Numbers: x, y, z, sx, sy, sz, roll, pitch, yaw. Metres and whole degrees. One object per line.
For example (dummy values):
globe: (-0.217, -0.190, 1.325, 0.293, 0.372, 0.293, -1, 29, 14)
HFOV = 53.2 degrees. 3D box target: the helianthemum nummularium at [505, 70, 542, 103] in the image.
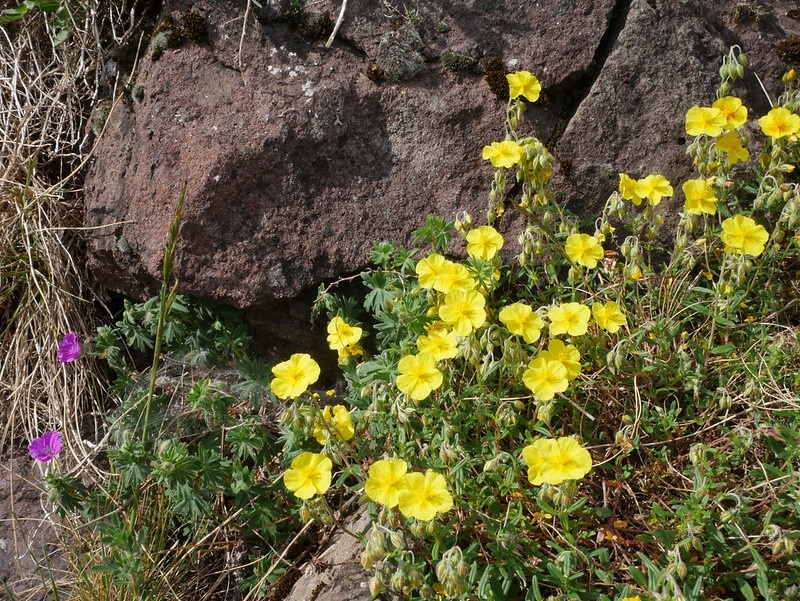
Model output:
helianthemum nummularium: (0.652, -1.113, 4.130, 0.160, 0.066, 0.208, 10, 78, -21)

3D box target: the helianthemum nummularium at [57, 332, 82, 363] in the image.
helianthemum nummularium: (-1.801, 0.274, 4.370, 0.142, 0.066, 0.207, -3, 77, -2)

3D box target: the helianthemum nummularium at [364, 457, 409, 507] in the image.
helianthemum nummularium: (-0.045, 0.768, 3.377, 0.179, 0.085, 0.231, 4, 58, 27)

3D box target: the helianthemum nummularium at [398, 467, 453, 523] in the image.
helianthemum nummularium: (0.104, 0.785, 3.320, 0.184, 0.225, 0.126, -2, 97, 1)

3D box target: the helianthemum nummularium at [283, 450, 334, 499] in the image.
helianthemum nummularium: (-0.400, 0.770, 3.511, 0.162, 0.080, 0.233, -1, 80, 11)
